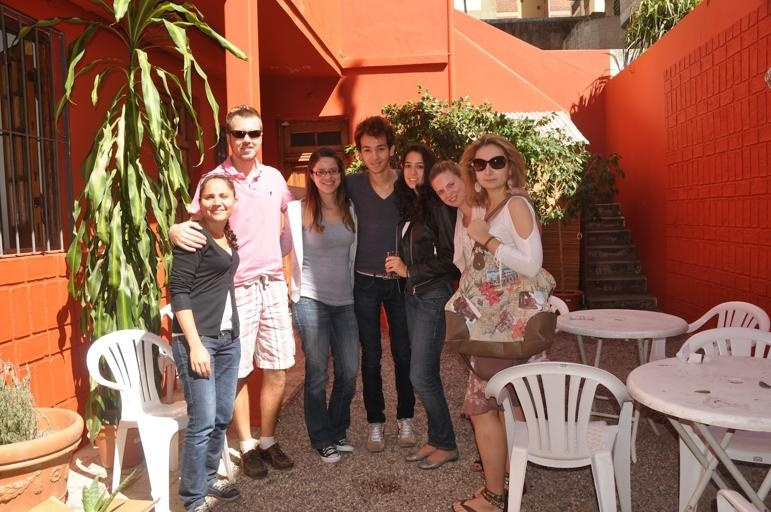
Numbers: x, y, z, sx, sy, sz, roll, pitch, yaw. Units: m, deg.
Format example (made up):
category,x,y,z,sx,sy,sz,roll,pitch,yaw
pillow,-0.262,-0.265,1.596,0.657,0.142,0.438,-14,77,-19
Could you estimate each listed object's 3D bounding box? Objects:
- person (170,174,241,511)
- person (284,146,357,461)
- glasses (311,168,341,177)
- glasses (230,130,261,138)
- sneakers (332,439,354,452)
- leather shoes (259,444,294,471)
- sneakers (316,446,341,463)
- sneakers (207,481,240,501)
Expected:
category,x,y,z,sx,sy,sz,roll,pitch,yaw
person,-1.218,0.616,3.721,0.305,2.296,0.579,4,10,29
person,-0.471,0.393,4.321,0.525,2.423,0.414,-2,9,-3
glasses,-0.450,-0.632,4.201,0.188,0.062,0.068,-2,9,-4
glasses,-1.043,-0.910,4.133,0.227,0.065,0.102,-4,10,-15
sneakers,-0.333,1.534,4.458,0.073,0.075,0.178,3,-4,-40
leather shoes,-0.848,1.563,4.352,0.305,0.148,0.117,12,6,35
sneakers,-0.445,1.559,4.354,0.212,0.090,0.086,-4,-4,42
sneakers,-1.184,1.670,3.976,0.269,0.117,0.103,3,9,16
